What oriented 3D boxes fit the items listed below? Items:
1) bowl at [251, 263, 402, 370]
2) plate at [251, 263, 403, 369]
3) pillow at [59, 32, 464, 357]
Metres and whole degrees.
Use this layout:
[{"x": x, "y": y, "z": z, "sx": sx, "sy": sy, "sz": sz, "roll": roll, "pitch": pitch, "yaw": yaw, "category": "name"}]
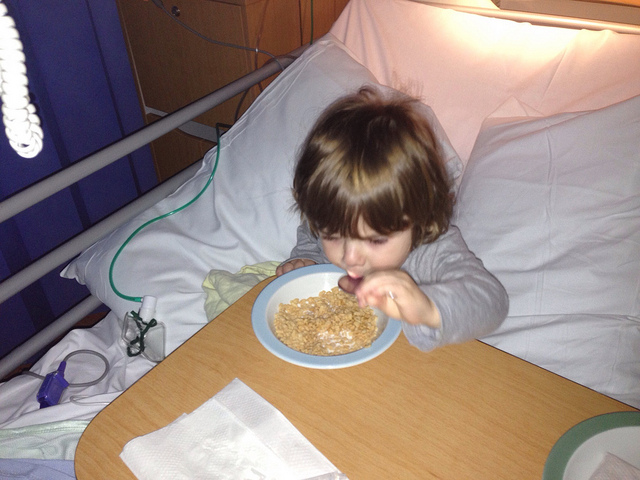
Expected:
[{"x": -0.003, "y": 0.163, "z": 0.847, "sx": 0.251, "sy": 0.059, "sz": 0.273, "roll": 2, "pitch": 38, "yaw": -2, "category": "bowl"}, {"x": -0.015, "y": 0.152, "z": 0.853, "sx": 0.203, "sy": 0.050, "sz": 0.210, "roll": -11, "pitch": 39, "yaw": -13, "category": "plate"}, {"x": -0.112, "y": -0.145, "z": 1.505, "sx": 1.216, "sy": 0.293, "sz": 0.737, "roll": -42, "pitch": 64, "yaw": -10, "category": "pillow"}]
